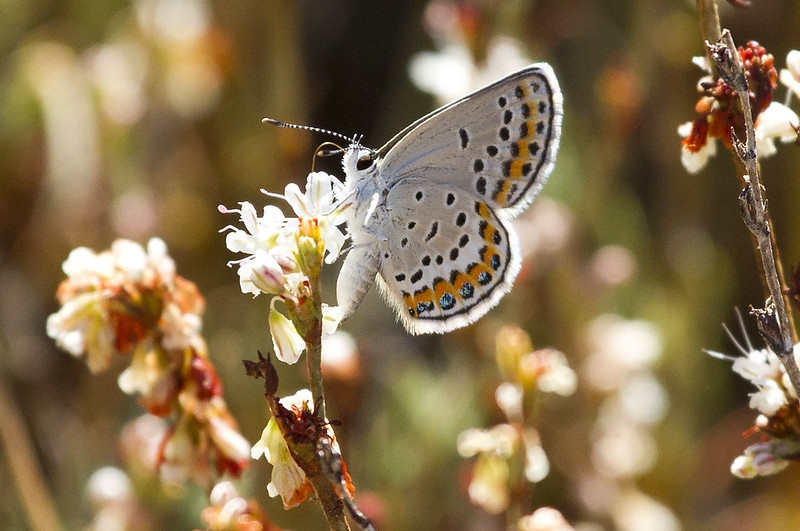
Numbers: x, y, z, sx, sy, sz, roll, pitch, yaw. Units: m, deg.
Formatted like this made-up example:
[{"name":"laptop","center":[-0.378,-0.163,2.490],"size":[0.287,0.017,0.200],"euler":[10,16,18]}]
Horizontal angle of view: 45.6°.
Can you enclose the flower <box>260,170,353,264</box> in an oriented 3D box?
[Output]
[{"name":"flower","center":[-0.223,-0.148,2.674],"size":[0.190,0.111,0.204],"euler":[-21,-42,37]}]

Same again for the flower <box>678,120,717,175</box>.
[{"name":"flower","center":[0.847,-0.341,2.695],"size":[0.101,0.113,0.083],"euler":[-20,-19,19]}]

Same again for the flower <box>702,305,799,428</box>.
[{"name":"flower","center":[0.997,0.306,2.771],"size":[0.282,0.359,0.366],"euler":[1,-6,18]}]
